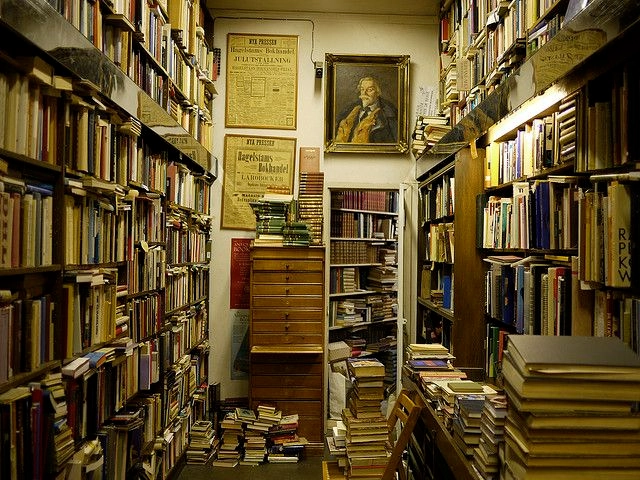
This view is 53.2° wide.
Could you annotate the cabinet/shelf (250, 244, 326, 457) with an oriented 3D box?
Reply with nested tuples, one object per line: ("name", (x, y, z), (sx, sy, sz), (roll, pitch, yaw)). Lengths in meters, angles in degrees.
("cabinet/shelf", (-0.271, 0.917, 5.845), (0.691, 2.009, 0.622), (1, 18, 0))

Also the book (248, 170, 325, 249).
("book", (-0.287, -0.284, 5.847), (0.644, 0.706, 0.440), (1, -1, -3))

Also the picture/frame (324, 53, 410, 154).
("picture/frame", (0.461, -1.346, 6.262), (0.815, 1.106, 0.086), (1, -17, 4))
